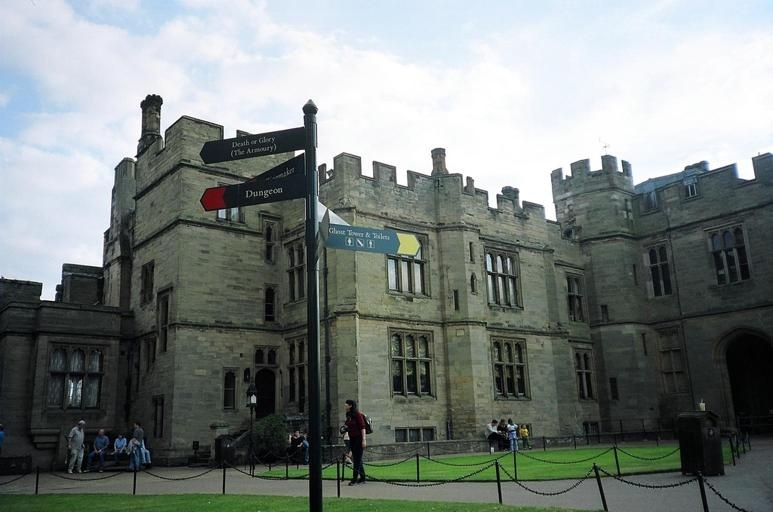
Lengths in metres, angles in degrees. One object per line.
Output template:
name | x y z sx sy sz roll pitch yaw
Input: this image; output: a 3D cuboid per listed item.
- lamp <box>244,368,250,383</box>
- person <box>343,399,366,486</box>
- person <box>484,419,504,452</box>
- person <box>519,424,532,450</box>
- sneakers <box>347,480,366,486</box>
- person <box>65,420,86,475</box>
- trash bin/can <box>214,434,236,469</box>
lamp | -7.224 6.219 33.230 0.386 0.733 0.196 0 -20 -8
person | -1.055 6.245 21.530 1.006 2.661 1.006 9 -21 -30
person | 5.436 9.052 32.191 0.838 1.466 0.831 -5 -20 6
person | 7.348 9.616 34.104 0.531 1.283 1.660 -7 -19 10
sneakers | -0.967 7.677 21.611 0.655 0.240 0.209 19 -37 -29
person | -14.365 8.879 29.712 0.666 2.303 1.163 6 -22 -24
trash bin/can | -7.298 8.856 29.114 0.947 1.393 2.110 3 -20 -17
